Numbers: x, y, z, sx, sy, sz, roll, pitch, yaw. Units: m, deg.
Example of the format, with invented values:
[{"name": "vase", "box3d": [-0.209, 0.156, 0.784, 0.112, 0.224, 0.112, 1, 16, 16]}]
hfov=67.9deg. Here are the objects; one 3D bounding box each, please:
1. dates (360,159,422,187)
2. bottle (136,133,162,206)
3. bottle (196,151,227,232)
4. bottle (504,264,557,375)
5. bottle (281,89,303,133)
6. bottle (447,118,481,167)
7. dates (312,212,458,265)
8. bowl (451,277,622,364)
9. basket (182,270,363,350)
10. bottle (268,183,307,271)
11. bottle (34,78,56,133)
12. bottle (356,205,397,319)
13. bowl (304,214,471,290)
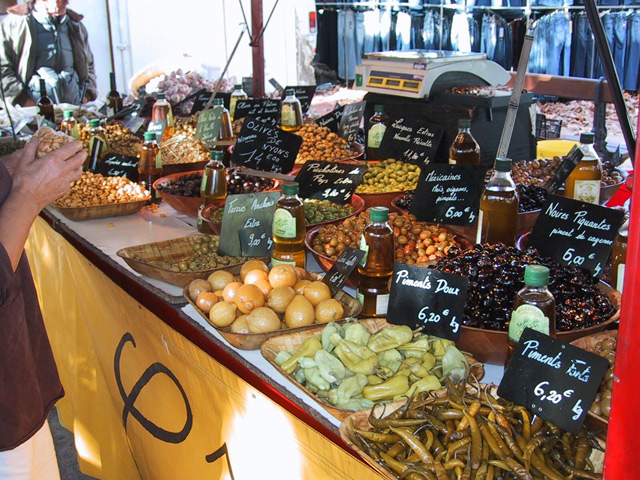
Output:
[{"name": "dates", "box3d": [0.390, -0.364, 2.691, 0.235, 0.084, 0.224, -1, 20, -1]}, {"name": "bottle", "box3d": [-1.126, -0.473, 3.131, 0.129, 0.371, 0.129, 7, 13, -2]}, {"name": "bottle", "box3d": [-0.590, -0.281, 2.517, 0.151, 0.444, 0.179, -19, 28, -38]}, {"name": "bottle", "box3d": [0.592, 0.227, 1.323, 0.116, 0.334, 0.165, 5, 19, 12]}, {"name": "bottle", "box3d": [-0.221, -0.971, 3.572, 0.163, 0.301, 0.344, -1, 18, -5]}, {"name": "bottle", "box3d": [0.750, -0.506, 2.460, 0.144, 0.214, 0.100, 5, 19, 12]}, {"name": "dates", "box3d": [0.260, -0.025, 2.063, 0.519, 0.217, 0.521, -10, 16, -29]}, {"name": "bowl", "box3d": [0.690, 0.232, 1.652, 0.501, 0.256, 0.534, -1, 13, 0]}, {"name": "basket", "box3d": [-0.140, 0.222, 1.768, 0.468, 0.220, 0.541, -15, 15, -33]}, {"name": "bottle", "box3d": [-0.126, -0.057, 1.983, 0.133, 0.335, 0.150, 13, 21, 36]}, {"name": "bottle", "box3d": [-2.571, -1.260, 4.446, 0.122, 0.467, 0.116, 10, 45, -10]}, {"name": "bottle", "box3d": [0.170, 0.079, 1.666, 0.152, 0.360, 0.193, 1, 18, 5]}, {"name": "bowl", "box3d": [0.284, -0.030, 2.091, 0.636, 0.318, 0.609, -4, 16, 1]}]
